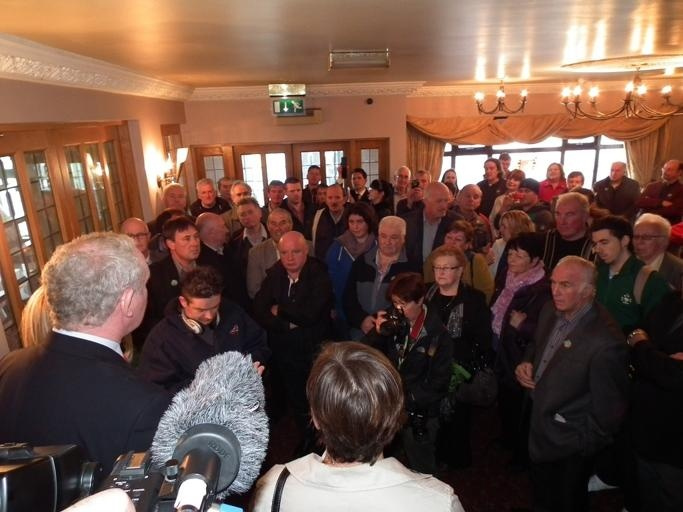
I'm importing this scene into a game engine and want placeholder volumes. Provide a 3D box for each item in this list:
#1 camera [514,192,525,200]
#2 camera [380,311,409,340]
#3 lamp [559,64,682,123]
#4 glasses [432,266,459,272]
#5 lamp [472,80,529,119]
[{"bbox_3d":[2.197,-0.741,6.018,0.086,0.087,0.086,11,0,-44],"label":"camera"},{"bbox_3d":[0.316,0.417,3.036,0.152,0.143,0.128,0,14,18],"label":"camera"},{"bbox_3d":[4.623,-2.729,8.095,1.746,0.764,1.787,-3,10,-5],"label":"lamp"},{"bbox_3d":[0.762,0.095,3.556,0.174,0.046,0.050,-1,13,13],"label":"glasses"},{"bbox_3d":[3.062,-2.872,9.347,0.899,0.492,0.847,-16,15,-43],"label":"lamp"}]
